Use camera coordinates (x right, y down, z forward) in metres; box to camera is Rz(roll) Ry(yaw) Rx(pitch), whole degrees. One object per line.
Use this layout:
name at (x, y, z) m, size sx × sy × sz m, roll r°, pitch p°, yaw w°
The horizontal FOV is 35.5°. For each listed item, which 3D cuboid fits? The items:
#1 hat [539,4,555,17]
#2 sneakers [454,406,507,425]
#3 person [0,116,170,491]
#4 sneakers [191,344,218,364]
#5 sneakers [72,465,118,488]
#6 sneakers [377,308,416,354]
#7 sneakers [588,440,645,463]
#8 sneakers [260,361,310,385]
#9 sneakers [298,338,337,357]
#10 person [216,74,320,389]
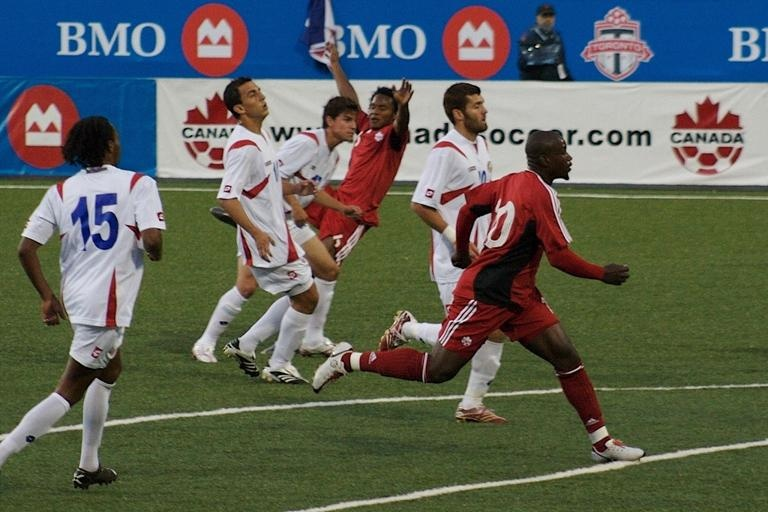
hat at (2.578, -3.893, 18.984) m, size 0.285 × 0.192 × 0.079 m, roll 3°, pitch 9°, yaw 4°
sneakers at (0.867, 1.427, 10.644) m, size 0.466 × 0.132 × 0.153 m, roll 1°, pitch -8°, yaw 5°
person at (-2.361, 0.372, 9.576) m, size 1.149 × 2.949 × 0.555 m, roll 2°, pitch 9°, yaw -10°
sneakers at (-1.763, 0.956, 11.851) m, size 0.256 × 0.174 × 0.192 m, roll 2°, pitch 8°, yaw -7°
sneakers at (-2.314, 1.766, 9.638) m, size 0.408 × 0.116 × 0.178 m, roll -6°, pitch -25°, yaw -22°
sneakers at (0.196, 0.740, 11.763) m, size 0.261 × 0.552 × 0.227 m, roll 44°, pitch 44°, yaw 21°
sneakers at (1.941, 1.624, 9.992) m, size 0.528 × 0.168 × 0.167 m, roll -2°, pitch 8°, yaw 4°
sneakers at (-0.950, 1.132, 11.466) m, size 0.492 × 0.174 × 0.167 m, roll 5°, pitch -6°, yaw 1°
sneakers at (-0.656, 0.928, 12.101) m, size 0.499 × 0.192 × 0.147 m, roll -6°, pitch 38°, yaw 0°
person at (-1.063, -0.211, 11.173) m, size 0.997 × 2.860 × 0.686 m, roll 2°, pitch 9°, yaw -12°
